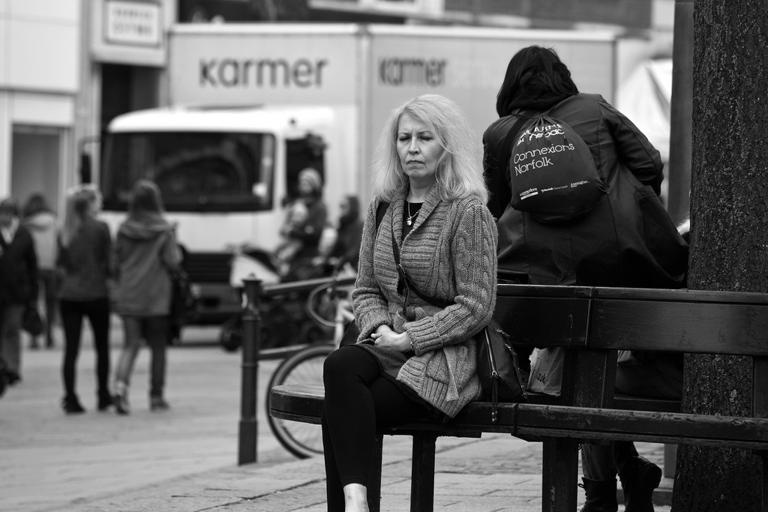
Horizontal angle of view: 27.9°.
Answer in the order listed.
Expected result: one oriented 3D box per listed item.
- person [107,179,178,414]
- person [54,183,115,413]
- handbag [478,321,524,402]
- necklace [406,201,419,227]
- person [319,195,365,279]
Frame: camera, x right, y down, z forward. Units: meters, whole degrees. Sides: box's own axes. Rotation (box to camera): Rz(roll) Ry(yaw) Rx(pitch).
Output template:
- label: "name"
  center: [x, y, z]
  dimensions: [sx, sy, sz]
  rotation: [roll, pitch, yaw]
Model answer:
- label: "person"
  center: [-1.982, 0.313, 13.042]
  dimensions: [0.450, 1.898, 0.977]
  rotation: [1, 6, 4]
- label: "person"
  center: [-2.290, 0.302, 11.895]
  dimensions: [0.398, 1.774, 1.354]
  rotation: [-1, 6, -10]
- label: "handbag"
  center: [0.618, 0.568, 8.307]
  dimensions: [0.210, 0.418, 0.377]
  rotation: [-15, -3, 18]
- label: "necklace"
  center: [0.152, -0.238, 8.492]
  dimensions: [0.026, 0.109, 0.109]
  rotation: [17, 20, -22]
- label: "person"
  center: [-0.429, -0.241, 15.738]
  dimensions: [0.250, 0.283, 0.792]
  rotation: [14, 23, -5]
